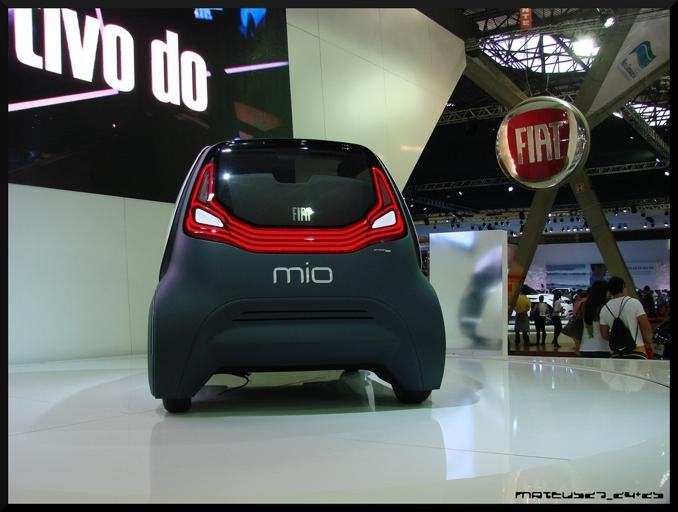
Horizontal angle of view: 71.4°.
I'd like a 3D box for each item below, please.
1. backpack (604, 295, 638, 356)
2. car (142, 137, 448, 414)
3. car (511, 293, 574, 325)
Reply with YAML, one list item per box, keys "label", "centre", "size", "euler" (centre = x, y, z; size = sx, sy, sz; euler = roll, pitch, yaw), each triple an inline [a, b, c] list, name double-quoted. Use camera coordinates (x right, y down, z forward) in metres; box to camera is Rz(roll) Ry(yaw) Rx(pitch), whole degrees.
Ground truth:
- label: "backpack"
  centre: [3.015, 0.744, 5.041]
  size: [0.278, 0.623, 0.184]
  euler: [-2, -3, 35]
- label: "car"
  centre: [-0.293, 0.045, 2.894]
  size: [0.998, 1.038, 1.905]
  euler: [0, 1, -7]
- label: "car"
  centre: [6.628, 1.420, 14.656]
  size: [2.121, 1.086, 1.394]
  euler: [4, -2, 1]
